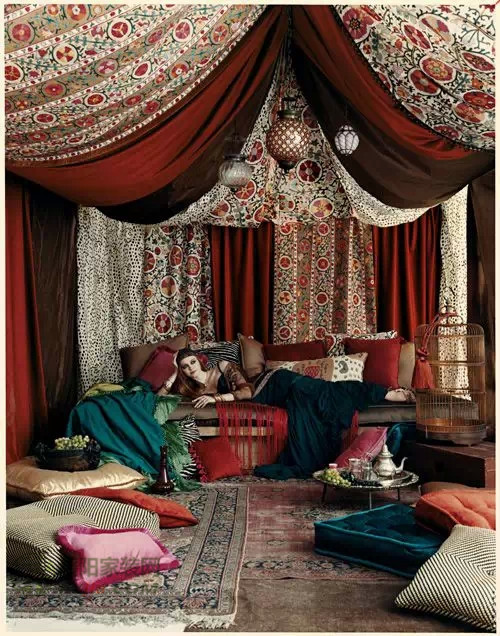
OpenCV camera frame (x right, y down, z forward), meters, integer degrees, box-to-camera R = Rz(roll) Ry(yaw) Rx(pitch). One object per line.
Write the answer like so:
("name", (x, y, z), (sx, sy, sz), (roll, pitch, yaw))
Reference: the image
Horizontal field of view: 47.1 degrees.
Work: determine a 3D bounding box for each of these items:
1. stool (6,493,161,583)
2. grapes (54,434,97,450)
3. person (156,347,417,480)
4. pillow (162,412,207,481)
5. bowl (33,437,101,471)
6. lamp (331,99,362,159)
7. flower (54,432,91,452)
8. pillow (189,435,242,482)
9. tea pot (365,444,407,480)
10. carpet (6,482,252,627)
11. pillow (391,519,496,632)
("stool", (-0.879, 0.958, 2.616), (0.380, 0.382, 0.110), (4, 92, 34))
("grapes", (-1.104, 0.778, 3.631), (0.226, 0.121, 0.085), (3, 94, -33))
("person", (0.173, 0.722, 4.593), (1.652, 1.063, 0.559), (0, 96, 9))
("pillow", (-0.490, 0.934, 4.182), (0.279, 0.113, 0.384), (-4, 64, -28))
("bowl", (-1.152, 0.856, 3.587), (0.305, 0.233, 0.118), (-4, 85, 11))
("lamp", (0.706, -1.383, 4.159), (0.171, 0.175, 0.389), (2, 96, 31))
("flower", (-1.119, 0.813, 3.630), (0.216, 0.088, 0.129), (-6, 31, -15))
("pillow", (-0.259, 1.023, 4.294), (0.445, 0.117, 0.437), (3, 34, 8))
("tea pot", (0.793, 0.857, 3.366), (0.239, 0.163, 0.209), (0, 80, 7))
("carpet", (-0.497, 1.089, 2.829), (0.979, 1.717, 0.603), (2, 67, -1))
("pillow", (0.691, 0.868, 1.959), (0.304, 0.299, 0.086), (-18, 108, -1))
